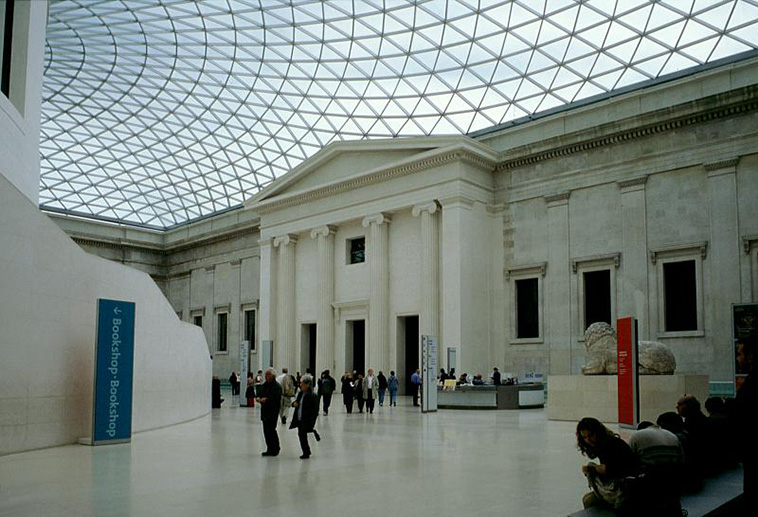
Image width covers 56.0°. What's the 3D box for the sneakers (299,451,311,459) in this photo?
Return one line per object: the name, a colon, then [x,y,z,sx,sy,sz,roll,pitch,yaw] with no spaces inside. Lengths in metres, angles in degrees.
sneakers: [-1.842,4.891,17.745,0.265,0.179,0.359,-1,-12,-9]
